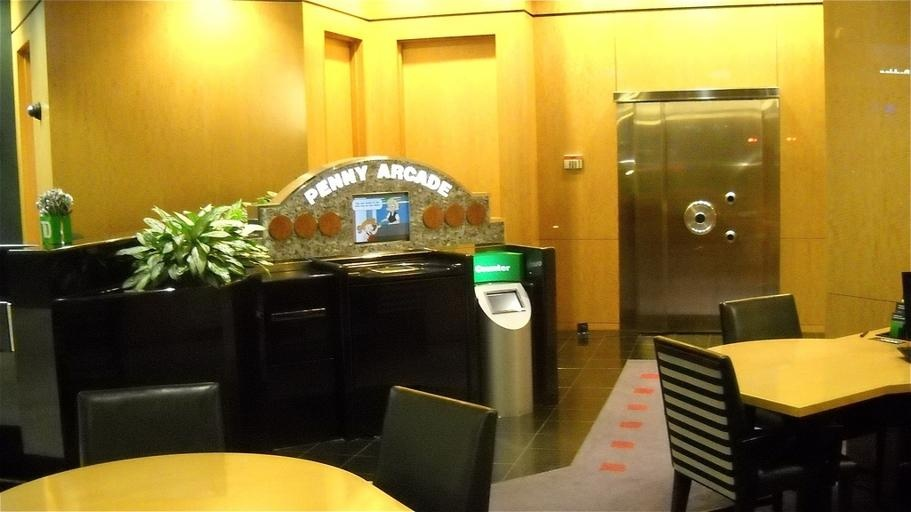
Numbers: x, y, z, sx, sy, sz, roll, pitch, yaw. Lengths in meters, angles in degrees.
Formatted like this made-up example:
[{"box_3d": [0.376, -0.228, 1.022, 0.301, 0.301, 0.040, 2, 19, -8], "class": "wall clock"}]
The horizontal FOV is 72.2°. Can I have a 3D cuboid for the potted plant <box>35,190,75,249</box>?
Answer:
[{"box_3d": [-3.518, -0.328, 5.529, 0.288, 0.487, 0.368, -12, 17, -30], "class": "potted plant"}]

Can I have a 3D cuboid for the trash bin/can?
[{"box_3d": [0.570, 1.050, 7.142, 0.616, 1.396, 0.669, -3, 14, 1], "class": "trash bin/can"}]
